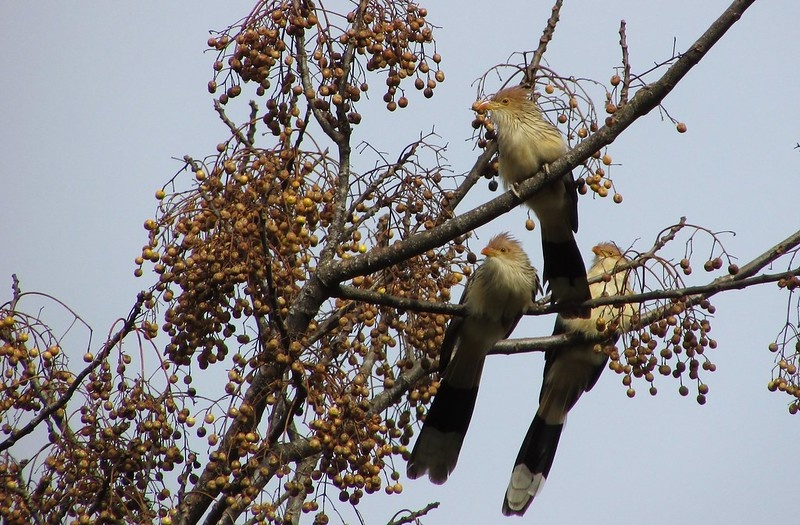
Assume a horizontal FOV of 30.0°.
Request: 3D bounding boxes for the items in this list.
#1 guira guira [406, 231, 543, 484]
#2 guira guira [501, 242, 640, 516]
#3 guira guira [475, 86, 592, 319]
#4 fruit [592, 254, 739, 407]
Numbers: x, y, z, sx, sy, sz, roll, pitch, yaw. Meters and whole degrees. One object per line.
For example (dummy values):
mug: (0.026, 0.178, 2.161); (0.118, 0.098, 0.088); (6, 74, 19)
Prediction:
guira guira: (0.425, 0.537, 10.569); (0.434, 1.716, 0.568); (28, -10, -37)
guira guira: (1.233, 0.584, 11.101); (0.414, 0.618, 2.008); (25, -93, -25)
guira guira: (0.890, -0.404, 10.217); (0.363, 0.655, 1.506); (-15, -76, 12)
fruit: (1.512, 0.355, 8.863); (0.337, 0.775, 1.161); (11, -29, -18)
